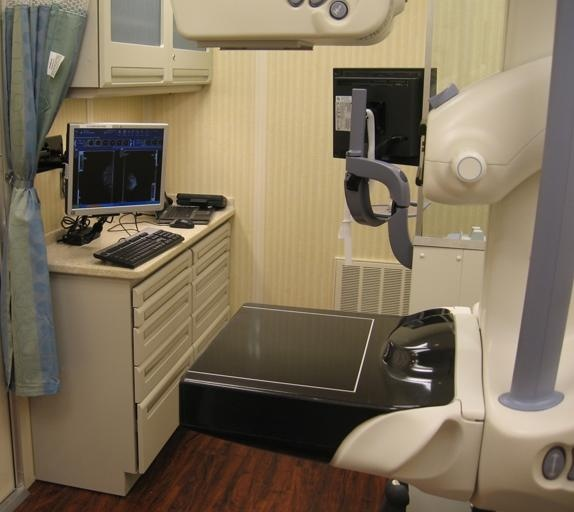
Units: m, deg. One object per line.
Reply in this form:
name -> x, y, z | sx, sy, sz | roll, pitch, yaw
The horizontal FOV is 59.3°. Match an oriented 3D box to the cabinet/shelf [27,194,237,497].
cabinet/shelf -> -0.736, 0.435, 2.239 | 0.433, 0.986, 1.232 | 3, 7, 11

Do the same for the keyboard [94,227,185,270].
keyboard -> -0.683, -0.037, 2.370 | 0.204, 0.110, 0.483 | 2, 10, 16

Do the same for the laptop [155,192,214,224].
laptop -> -0.615, -0.267, 3.083 | 0.241, 0.094, 0.233 | 4, 25, -3

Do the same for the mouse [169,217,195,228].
mouse -> -0.594, -0.194, 2.886 | 0.100, 0.039, 0.063 | 3, 9, 4

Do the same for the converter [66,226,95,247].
converter -> -1.029, -0.096, 2.482 | 0.093, 0.029, 0.095 | 13, 22, 22

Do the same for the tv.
tv -> -0.839, -0.428, 2.430 | 0.050, 0.365, 0.383 | 18, 23, 40
